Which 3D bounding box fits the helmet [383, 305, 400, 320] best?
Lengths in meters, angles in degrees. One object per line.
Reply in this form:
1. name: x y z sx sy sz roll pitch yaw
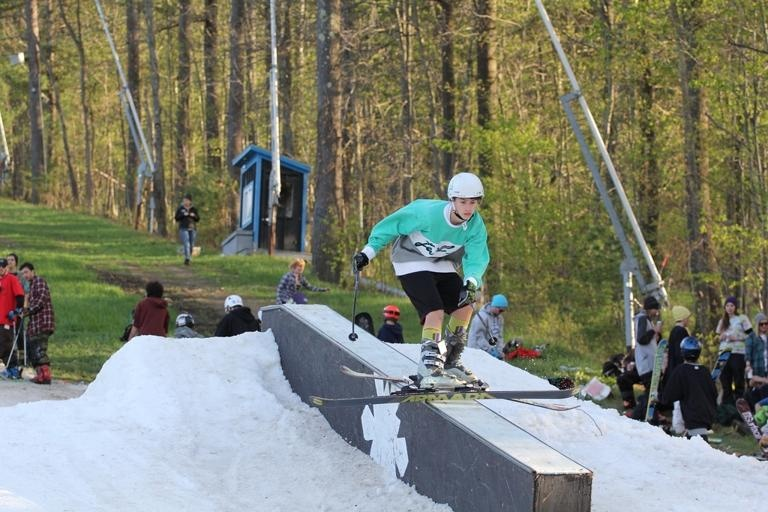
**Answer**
1. helmet: 0.302 2.296 80.737 0.603 0.550 0.479 22 10 28
